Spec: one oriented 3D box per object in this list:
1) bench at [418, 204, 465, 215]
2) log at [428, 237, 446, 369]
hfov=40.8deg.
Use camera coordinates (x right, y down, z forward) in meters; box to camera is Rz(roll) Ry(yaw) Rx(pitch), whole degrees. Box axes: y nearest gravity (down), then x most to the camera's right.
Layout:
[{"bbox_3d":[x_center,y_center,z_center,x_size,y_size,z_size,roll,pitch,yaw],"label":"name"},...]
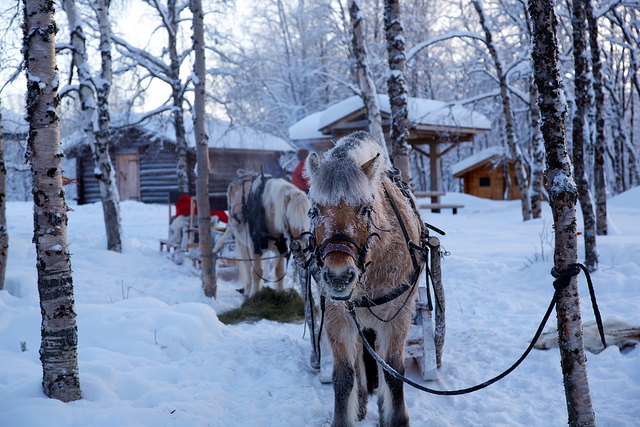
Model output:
[{"bbox_3d":[5.094,-0.174,35.656,1.491,0.394,4.618,1,-2,12],"label":"bench"},{"bbox_3d":[3.099,2.321,22.418,0.480,3.313,0.419,1,5,41],"label":"log"}]
